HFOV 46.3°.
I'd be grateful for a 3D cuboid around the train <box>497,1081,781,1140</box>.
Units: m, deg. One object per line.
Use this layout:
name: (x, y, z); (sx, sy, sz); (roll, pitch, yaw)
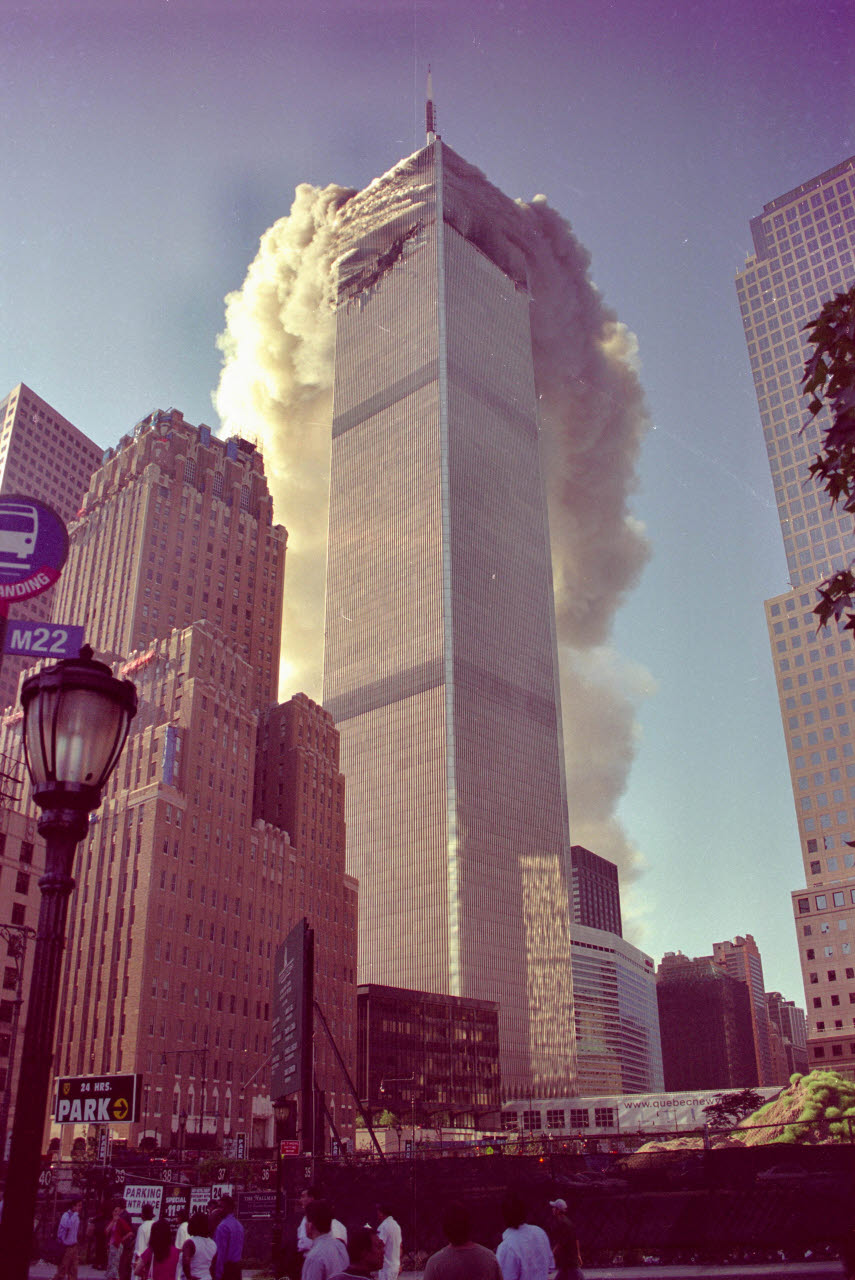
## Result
train: (33.324, 88.327, 186.226); (11.478, 6.292, 41.915); (20, -32, -39)
